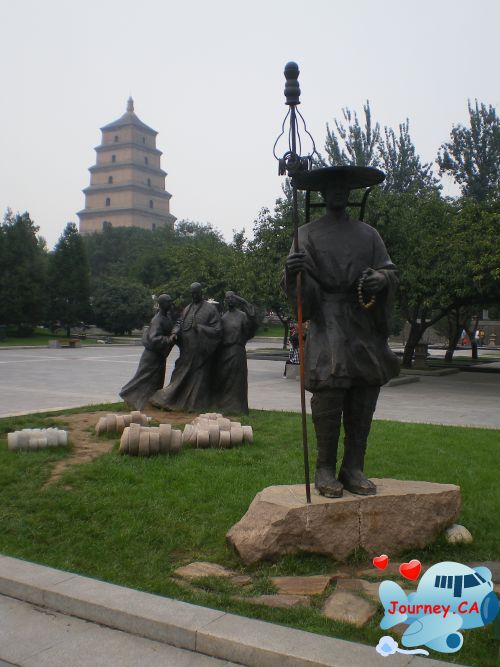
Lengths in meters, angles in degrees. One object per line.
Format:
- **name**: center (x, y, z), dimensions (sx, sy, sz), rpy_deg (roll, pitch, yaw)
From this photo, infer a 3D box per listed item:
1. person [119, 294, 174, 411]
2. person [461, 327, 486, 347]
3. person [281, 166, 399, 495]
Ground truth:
- **person**: center (-1.453, 0.255, 9.993), dimensions (0.750, 1.630, 0.621), rpy_deg (3, 0, 9)
- **person**: center (14.086, 0.239, 43.402), dimensions (1.400, 1.324, 0.750), rpy_deg (0, -8, -2)
- **person**: center (0.578, -0.013, 4.307), dimensions (0.760, 2.051, 0.565), rpy_deg (3, 0, 0)
